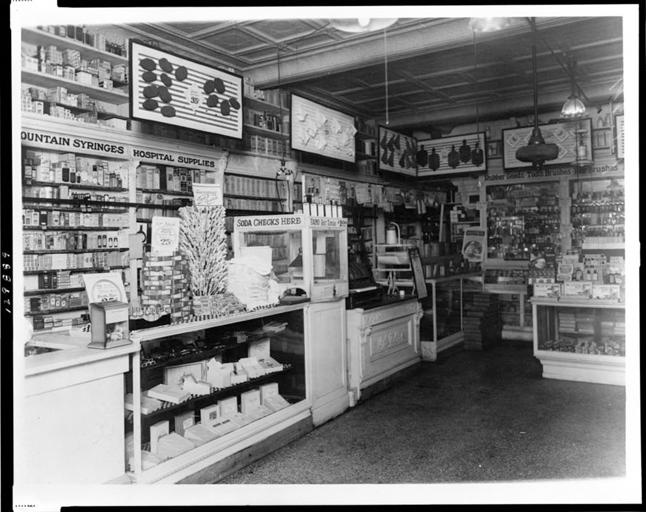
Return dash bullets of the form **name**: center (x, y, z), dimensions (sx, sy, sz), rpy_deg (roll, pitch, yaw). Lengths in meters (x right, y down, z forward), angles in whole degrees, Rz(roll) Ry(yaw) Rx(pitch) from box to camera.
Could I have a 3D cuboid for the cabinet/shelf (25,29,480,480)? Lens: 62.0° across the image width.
- **cabinet/shelf**: center (-0.821, -0.151, 6.076), dimensions (1.626, 3.928, 4.774), rpy_deg (-4, 0, 41)
